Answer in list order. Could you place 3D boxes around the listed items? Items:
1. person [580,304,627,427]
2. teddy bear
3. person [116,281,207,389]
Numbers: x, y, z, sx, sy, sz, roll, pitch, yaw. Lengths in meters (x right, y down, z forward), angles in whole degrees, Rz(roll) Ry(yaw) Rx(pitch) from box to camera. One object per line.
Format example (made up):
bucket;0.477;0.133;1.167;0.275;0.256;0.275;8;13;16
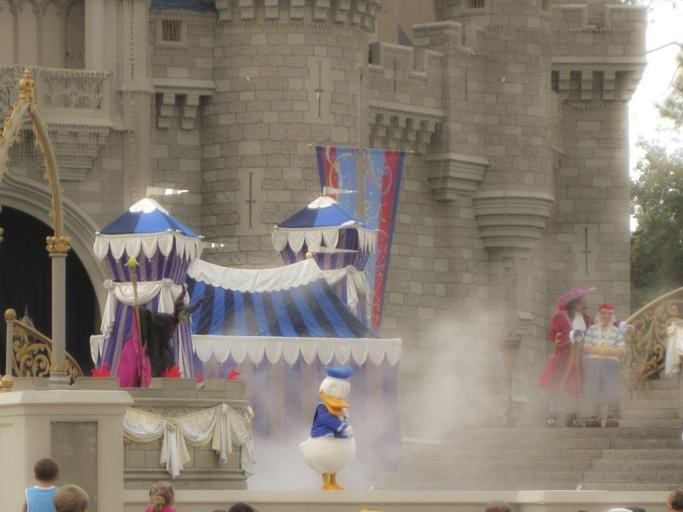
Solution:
person;3.800;1.572;37.414;0.723;1.681;0.562;2;2;-4
teddy bear;-0.073;2.285;34.716;0.834;1.496;0.696;-1;3;-36
person;-2.467;1.198;35.741;1.278;1.527;0.934;11;16;27
